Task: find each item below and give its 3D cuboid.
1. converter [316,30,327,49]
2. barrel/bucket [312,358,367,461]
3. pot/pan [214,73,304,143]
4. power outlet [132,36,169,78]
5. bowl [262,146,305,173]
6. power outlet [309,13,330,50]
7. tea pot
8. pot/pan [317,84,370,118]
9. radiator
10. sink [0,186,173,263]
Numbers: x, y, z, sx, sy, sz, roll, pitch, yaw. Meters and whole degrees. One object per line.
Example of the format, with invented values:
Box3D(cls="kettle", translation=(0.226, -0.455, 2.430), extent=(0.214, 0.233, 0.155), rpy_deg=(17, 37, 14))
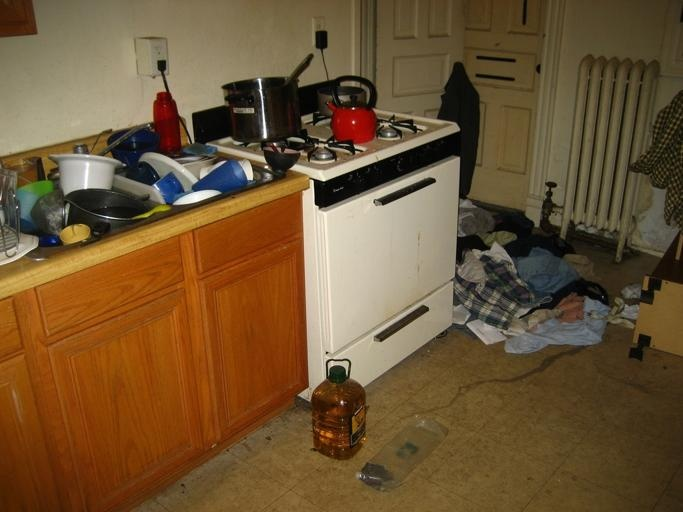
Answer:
Box3D(cls="converter", translation=(-0.111, -1.130, 2.775), extent=(0.042, 0.071, 0.074), rpy_deg=(14, 28, 28))
Box3D(cls="barrel/bucket", translation=(-0.016, 0.611, 2.154), extent=(0.232, 0.390, 0.227), rpy_deg=(-2, 10, 0))
Box3D(cls="pot/pan", translation=(-0.336, -0.599, 2.235), extent=(0.305, 0.214, 0.296), rpy_deg=(-8, 22, -12))
Box3D(cls="power outlet", translation=(-0.793, -0.828, 2.221), extent=(0.115, 0.146, 0.083), rpy_deg=(19, 29, 33))
Box3D(cls="bowl", translation=(-0.231, -0.370, 1.959), extent=(0.111, 0.070, 0.110), rpy_deg=(5, 22, -2))
Box3D(cls="power outlet", translation=(-0.108, -1.157, 2.783), extent=(0.079, 0.129, 0.047), rpy_deg=(-12, 27, -17))
Box3D(cls="tea pot", translation=(0.041, -0.616, 2.218), extent=(0.233, 0.266, 0.185), rpy_deg=(10, 38, 19))
Box3D(cls="pot/pan", translation=(-0.016, -0.728, 2.504), extent=(0.159, 0.093, 0.258), rpy_deg=(10, 34, 20))
Box3D(cls="radiator", translation=(1.600, -0.605, 3.313), extent=(0.548, 1.161, 0.393), rpy_deg=(14, 31, 27))
Box3D(cls="sink", translation=(-0.768, -0.128, 1.678), extent=(0.428, 0.105, 0.348), rpy_deg=(-8, 29, -13))
